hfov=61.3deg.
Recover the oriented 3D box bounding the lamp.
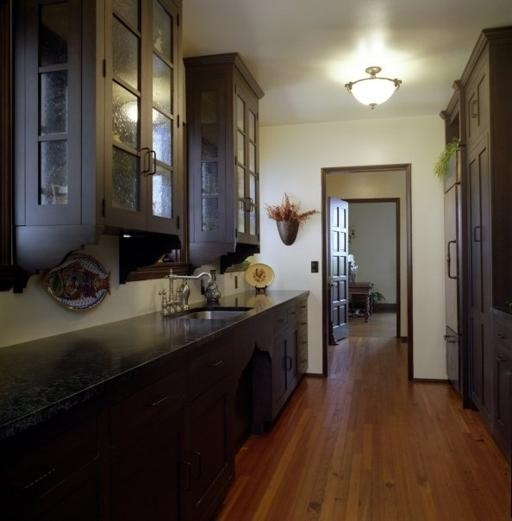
[{"bbox_3d":[0.858,-1.251,3.188,0.364,0.354,0.448,-2,6,-25],"label":"lamp"}]

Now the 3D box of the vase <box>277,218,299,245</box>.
[{"bbox_3d":[0.318,-0.300,4.365,0.178,0.281,0.213,-2,6,-13],"label":"vase"}]

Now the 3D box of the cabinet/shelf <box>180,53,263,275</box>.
[{"bbox_3d":[-0.206,-0.672,3.178,0.382,1.417,0.707,0,0,23],"label":"cabinet/shelf"}]

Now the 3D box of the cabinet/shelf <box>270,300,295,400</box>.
[{"bbox_3d":[0.186,0.662,3.198,0.208,0.496,0.668,-1,2,6],"label":"cabinet/shelf"}]

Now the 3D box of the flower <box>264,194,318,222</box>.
[{"bbox_3d":[0.367,-0.538,4.433,0.520,0.301,0.203,0,0,-1],"label":"flower"}]

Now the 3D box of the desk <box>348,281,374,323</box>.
[{"bbox_3d":[2.004,0.704,8.304,0.429,0.763,0.740,-1,-1,12],"label":"desk"}]

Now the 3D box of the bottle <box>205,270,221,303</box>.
[{"bbox_3d":[-0.304,0.202,3.123,0.088,0.268,0.100,-3,-2,28],"label":"bottle"}]
